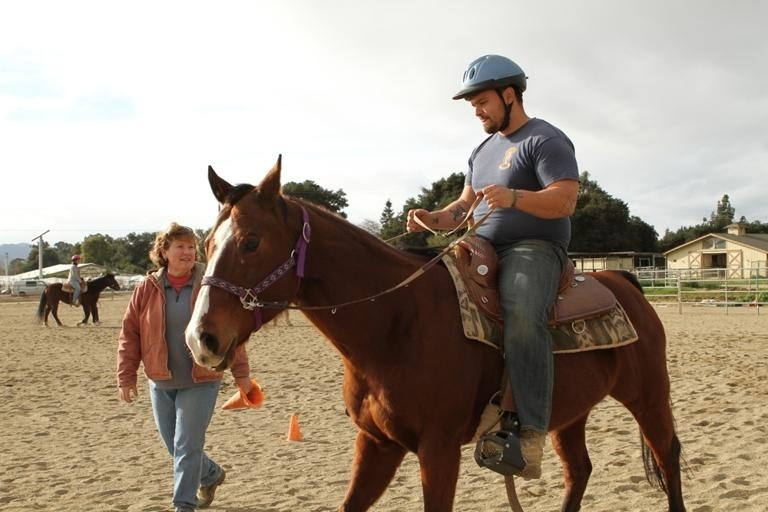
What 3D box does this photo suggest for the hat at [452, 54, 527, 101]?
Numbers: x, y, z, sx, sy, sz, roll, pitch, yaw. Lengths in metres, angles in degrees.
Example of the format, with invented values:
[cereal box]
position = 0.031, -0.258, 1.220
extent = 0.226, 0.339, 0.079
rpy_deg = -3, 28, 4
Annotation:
[hat]
position = 0.999, -1.632, 5.665
extent = 0.699, 0.419, 0.529
rpy_deg = -3, 6, -16

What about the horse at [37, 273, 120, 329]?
[horse]
position = -11.175, 1.650, 22.335
extent = 2.626, 1.953, 0.702
rpy_deg = 0, -8, -6

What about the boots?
[boots]
position = 1.004, 1.614, 5.293
extent = 0.591, 0.628, 0.407
rpy_deg = 14, -19, 8
